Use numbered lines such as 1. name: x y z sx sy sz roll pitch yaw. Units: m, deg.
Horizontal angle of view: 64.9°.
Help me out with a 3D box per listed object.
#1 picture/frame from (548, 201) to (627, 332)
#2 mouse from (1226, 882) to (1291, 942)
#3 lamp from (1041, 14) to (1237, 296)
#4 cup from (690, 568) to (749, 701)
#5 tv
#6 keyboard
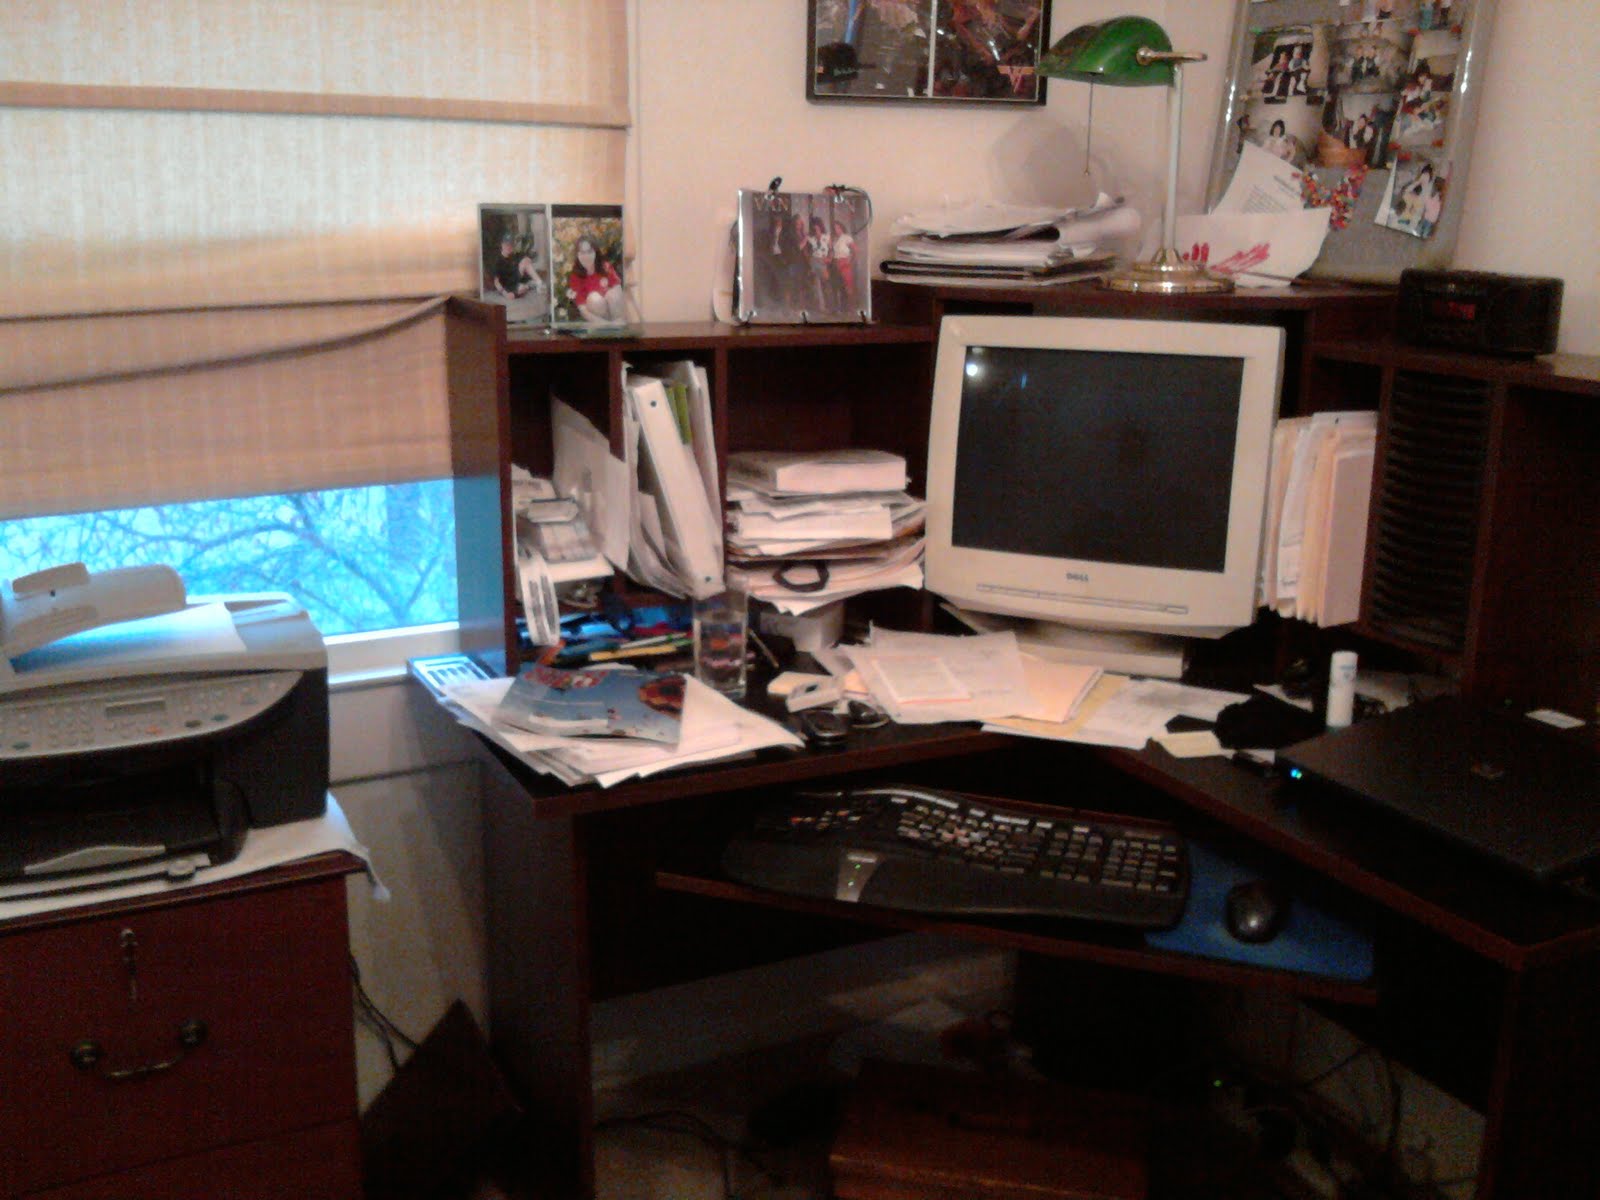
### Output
1. picture/frame: -0.375 -0.587 2.230 0.162 0.212 0.013 7 19 23
2. mouse: 0.638 0.420 1.746 0.068 0.075 0.071 -3 15 21
3. lamp: 0.667 -0.839 2.364 0.347 0.460 0.544 9 22 26
4. cup: -0.148 0.076 2.172 0.113 0.172 0.114 0 11 0
5. tv: 0.546 -0.238 2.283 0.614 0.542 0.288 8 14 30
6. keyboard: 0.221 0.368 1.839 0.657 0.084 0.264 3 20 11
